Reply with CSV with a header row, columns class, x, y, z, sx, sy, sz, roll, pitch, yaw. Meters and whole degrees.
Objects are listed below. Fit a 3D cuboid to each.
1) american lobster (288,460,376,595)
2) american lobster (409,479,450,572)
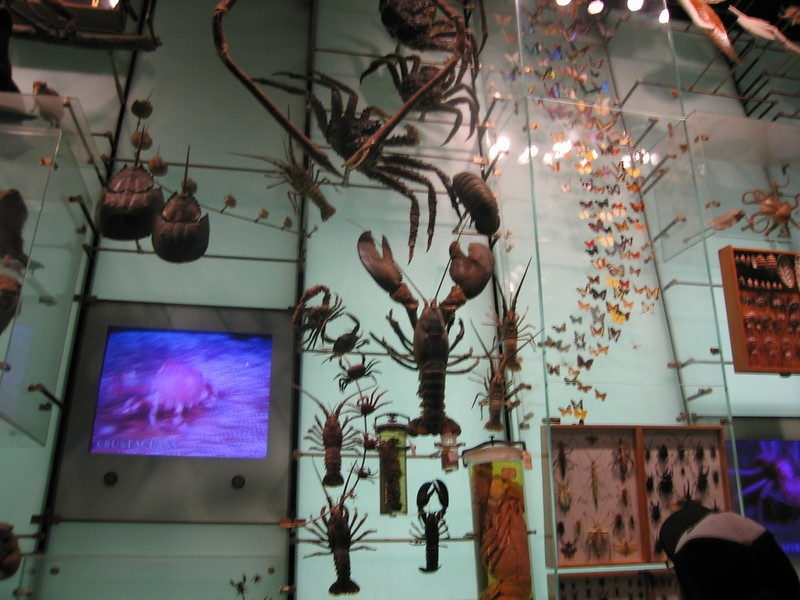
class,x,y,z,sx,sy,sz,roll,pitch,yaw
american lobster,-0.386,1.399,3.798,0.508,0.657,0.158,2,-34,-10
american lobster,0.195,1.430,3.907,0.270,0.576,0.108,11,-15,-31
